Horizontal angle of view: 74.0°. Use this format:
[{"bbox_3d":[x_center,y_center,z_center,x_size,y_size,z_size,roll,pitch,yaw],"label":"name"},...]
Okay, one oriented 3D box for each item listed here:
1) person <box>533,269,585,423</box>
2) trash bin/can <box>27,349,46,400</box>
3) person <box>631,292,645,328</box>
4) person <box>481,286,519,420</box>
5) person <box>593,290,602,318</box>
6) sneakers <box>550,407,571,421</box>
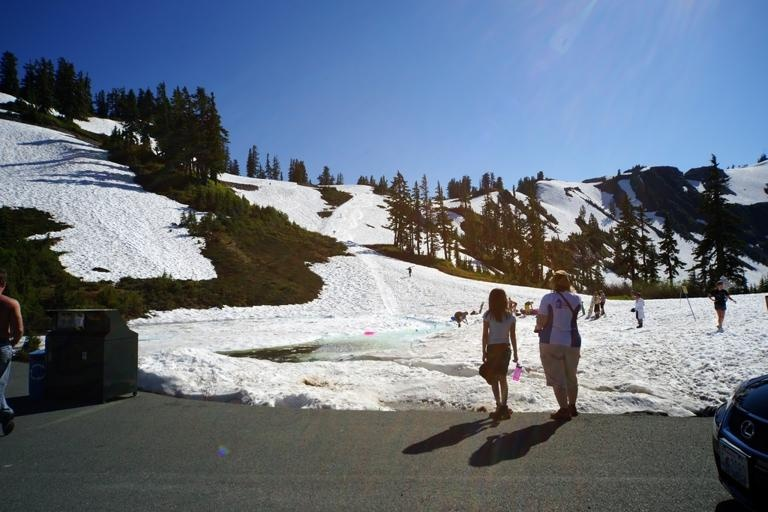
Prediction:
[{"bbox_3d":[3.827,1.965,11.152,0.798,3.240,0.852,-1,-1,42],"label":"person"},{"bbox_3d":[-8.370,2.895,12.221,0.571,1.144,0.258,-1,-1,22],"label":"trash bin/can"},{"bbox_3d":[10.693,2.291,21.465,0.341,1.376,1.448,-1,-1,26],"label":"person"},{"bbox_3d":[2.524,2.160,11.291,0.745,2.844,0.865,0,-1,22],"label":"person"},{"bbox_3d":[11.182,2.565,26.839,0.407,1.243,1.845,0,-1,22],"label":"person"},{"bbox_3d":[3.848,3.509,11.130,0.430,0.253,0.218,2,-12,6],"label":"sneakers"}]
